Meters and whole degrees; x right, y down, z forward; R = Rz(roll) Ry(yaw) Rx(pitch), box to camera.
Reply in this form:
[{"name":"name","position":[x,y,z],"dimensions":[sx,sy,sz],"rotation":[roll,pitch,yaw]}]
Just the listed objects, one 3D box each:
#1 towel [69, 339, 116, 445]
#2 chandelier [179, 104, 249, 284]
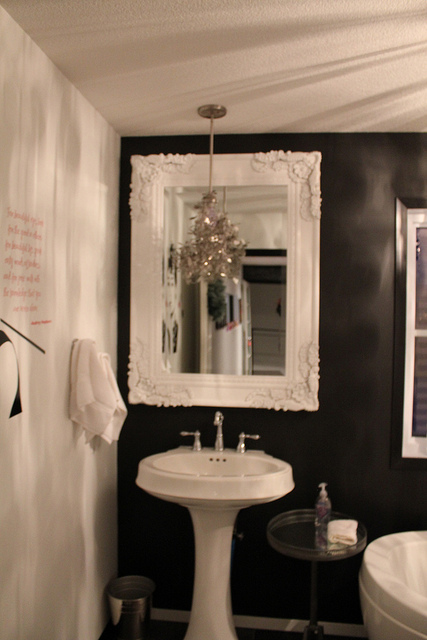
[{"name":"towel","position":[-0.469,0.263,2.351],"dimensions":[0.182,0.286,0.109],"rotation":[3,-2,-10]},{"name":"chandelier","position":[0.004,-0.528,2.664],"dimensions":[0.315,0.718,0.367],"rotation":[2,-1,3]}]
